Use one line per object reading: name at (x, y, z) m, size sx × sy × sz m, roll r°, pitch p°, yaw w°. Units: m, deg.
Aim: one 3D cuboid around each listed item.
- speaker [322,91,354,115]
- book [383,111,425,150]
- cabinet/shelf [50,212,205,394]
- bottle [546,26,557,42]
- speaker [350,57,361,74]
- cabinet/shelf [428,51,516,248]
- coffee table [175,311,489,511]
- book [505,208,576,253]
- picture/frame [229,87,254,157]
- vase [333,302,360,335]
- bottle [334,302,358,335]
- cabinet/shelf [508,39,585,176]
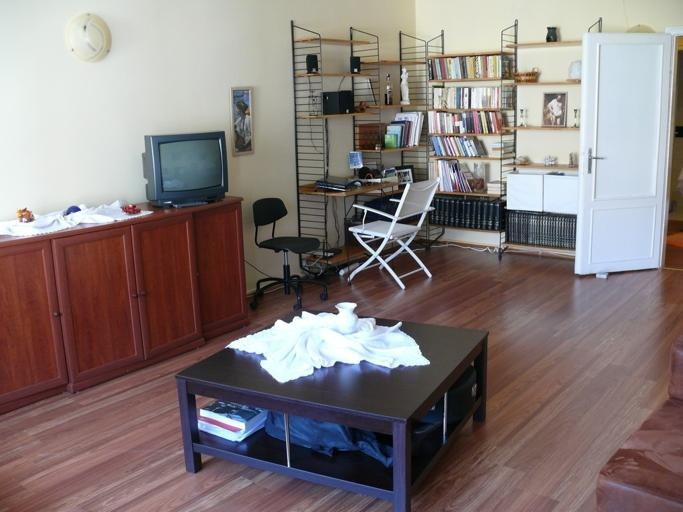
speaker at (-0.011, -1.677, 5.833) m, size 0.407 × 0.251 × 0.201 m, roll -10°, pitch 15°, yaw -26°
book at (0.806, -1.625, 6.820) m, size 0.424 × 0.542 × 0.184 m, roll 5°, pitch -5°, yaw 24°
cabinet/shelf at (-1.632, 0.350, 3.900) m, size 0.437 × 1.025 × 1.145 m, roll 7°, pitch 16°, yaw 35°
bottle at (2.442, -2.555, 6.158) m, size 0.126 × 0.202 × 0.294 m, roll 1°, pitch 14°, yaw 20°
speaker at (0.154, -2.190, 6.108) m, size 0.149 × 0.191 × 0.072 m, roll -16°, pitch 18°, yaw -40°
cabinet/shelf at (1.644, -1.322, 6.819) m, size 1.146 × 2.454 × 0.676 m, roll 3°, pitch 15°, yaw 27°
coffee table at (-0.006, 0.815, 3.067) m, size 1.303 × 0.604 × 1.251 m, roll 4°, pitch 15°, yaw 31°
book at (2.413, -0.306, 6.424) m, size 0.878 × 0.440 × 0.419 m, roll 5°, pitch 4°, yaw 23°
picture/frame at (-0.994, -1.326, 5.250) m, size 0.039 × 0.648 × 0.320 m, roll 6°, pitch 17°, yaw 36°
vase at (0.048, 0.352, 3.095) m, size 0.126 × 0.164 × 0.167 m, roll 11°, pitch 22°, yaw 29°
bottle at (0.038, 0.350, 3.098) m, size 0.126 × 0.163 × 0.166 m, roll 10°, pitch 22°, yaw 28°
cabinet/shelf at (2.447, -1.773, 6.342) m, size 0.726 × 1.493 × 0.466 m, roll 1°, pitch 15°, yaw 21°
